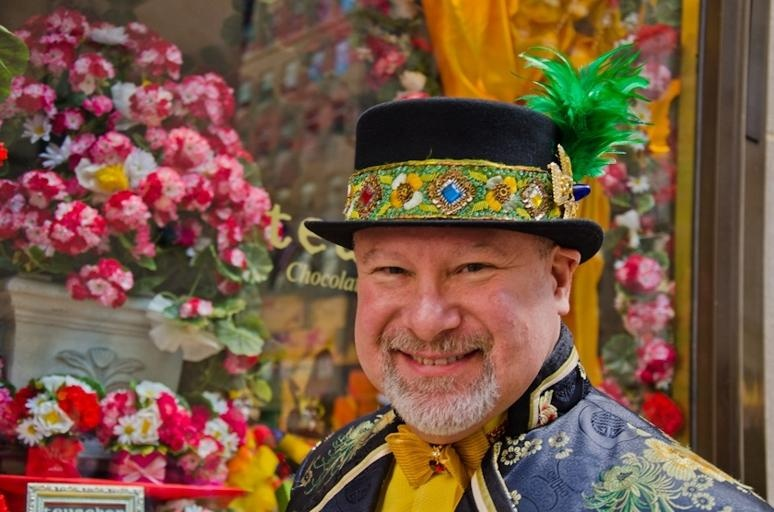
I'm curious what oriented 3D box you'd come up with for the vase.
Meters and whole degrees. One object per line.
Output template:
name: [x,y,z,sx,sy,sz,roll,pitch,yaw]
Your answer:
vase: [-1.580,0.399,8.442,0.968,0.755,0.572,5,-1,-22]
